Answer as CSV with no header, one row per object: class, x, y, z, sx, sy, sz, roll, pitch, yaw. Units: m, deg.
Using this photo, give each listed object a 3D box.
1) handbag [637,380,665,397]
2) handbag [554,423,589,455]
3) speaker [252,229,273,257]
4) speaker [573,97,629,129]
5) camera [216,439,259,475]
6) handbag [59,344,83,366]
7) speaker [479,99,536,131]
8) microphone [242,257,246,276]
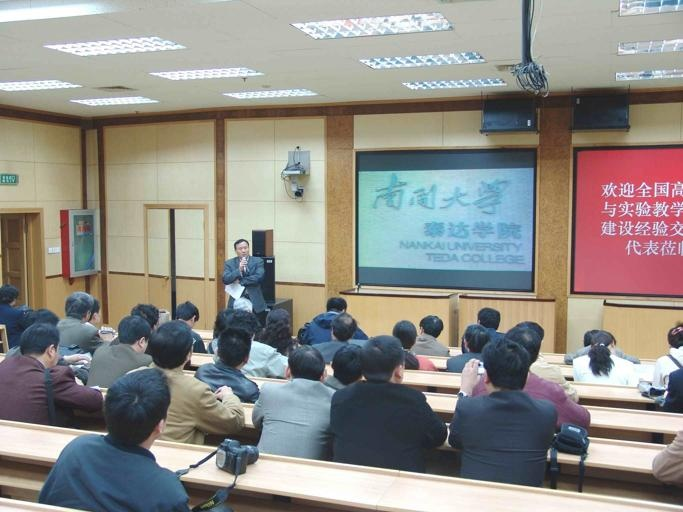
handbag,2.166,0.921,4.002,0.123,0.055,0.126,1,2,18
handbag,1.212,0.963,3.029,0.151,0.115,0.146,14,23,30
speaker,-1.146,-0.203,8.405,0.290,0.548,0.394,0,4,4
speaker,3.289,-1.807,7.356,0.719,0.427,0.492,3,5,9
camera,-0.523,0.993,2.903,0.186,0.145,0.214,0,-10,28
handbag,-2.166,0.769,4.577,0.155,0.072,0.194,2,3,-16
speaker,2.194,-1.827,7.473,0.713,0.470,0.418,0,-2,24
microphone,-1.323,0.109,7.844,0.080,0.228,0.074,0,1,-16
